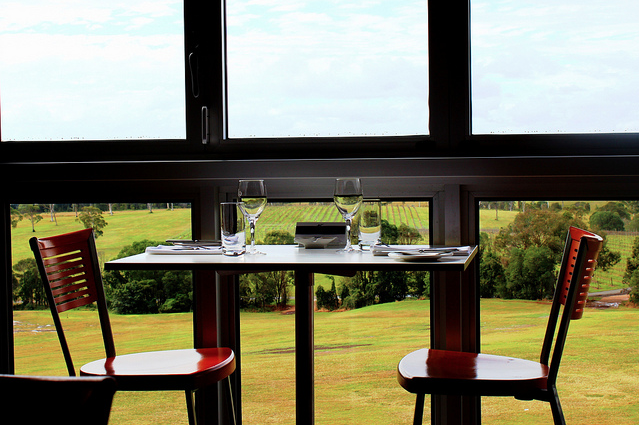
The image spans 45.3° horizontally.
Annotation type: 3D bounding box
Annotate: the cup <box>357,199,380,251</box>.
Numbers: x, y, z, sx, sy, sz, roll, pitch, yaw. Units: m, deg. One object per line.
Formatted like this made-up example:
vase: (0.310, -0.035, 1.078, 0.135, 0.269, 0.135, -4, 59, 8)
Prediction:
cup: (0.215, 0.055, 3.313, 0.123, 0.208, 0.121, -2, 8, 0)

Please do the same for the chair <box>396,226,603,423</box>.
chair: (0.723, 0.475, 3.555, 0.922, 1.185, 0.686, 4, -5, 12)

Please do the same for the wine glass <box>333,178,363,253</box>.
wine glass: (0.123, 0.005, 3.276, 0.119, 0.298, 0.134, -7, 9, -36)

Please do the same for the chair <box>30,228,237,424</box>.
chair: (-0.745, 0.480, 3.742, 0.930, 1.348, 0.711, -3, 0, 8)
